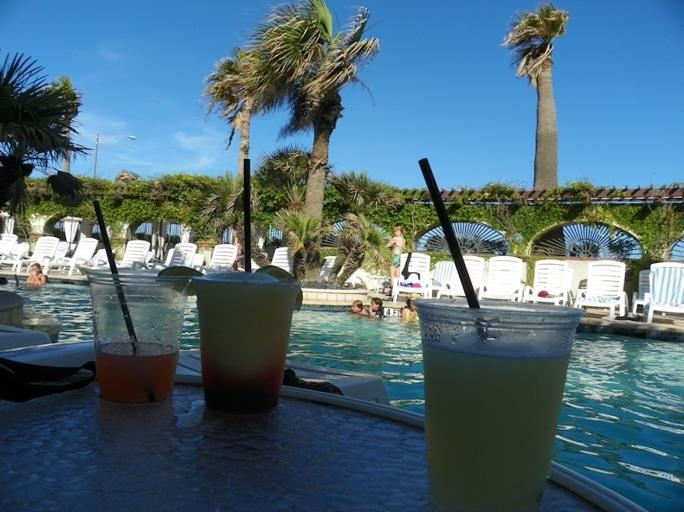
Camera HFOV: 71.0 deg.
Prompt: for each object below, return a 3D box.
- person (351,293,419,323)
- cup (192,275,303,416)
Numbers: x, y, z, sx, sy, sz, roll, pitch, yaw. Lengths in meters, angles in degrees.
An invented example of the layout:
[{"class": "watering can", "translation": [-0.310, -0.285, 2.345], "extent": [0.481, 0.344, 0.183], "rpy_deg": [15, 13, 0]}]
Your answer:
[{"class": "person", "translation": [0.701, 0.914, 8.481], "extent": [1.059, 0.380, 1.314], "rpy_deg": [2, -1, 0]}, {"class": "cup", "translation": [-0.138, 0.150, 0.888], "extent": [0.257, 0.240, 0.233], "rpy_deg": [0, -2, -2]}]
